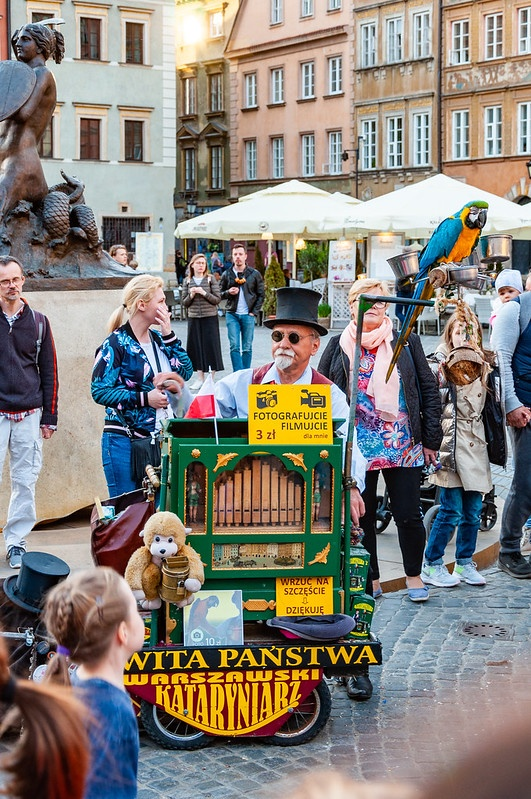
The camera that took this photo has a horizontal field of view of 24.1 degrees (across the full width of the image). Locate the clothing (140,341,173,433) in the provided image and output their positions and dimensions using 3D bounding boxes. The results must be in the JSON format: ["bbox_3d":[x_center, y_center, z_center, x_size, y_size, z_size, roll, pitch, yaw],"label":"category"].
[{"bbox_3d":[-0.485,-0.061,5.484,0.212,0.408,0.103,-6,-8,5],"label":"clothing"}]

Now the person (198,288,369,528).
[{"bbox_3d":[0.054,0.054,4.706,0.614,0.917,0.380,0,8,4],"label":"person"}]

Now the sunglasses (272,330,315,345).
[{"bbox_3d":[0.116,-0.228,4.640,0.075,0.032,0.104,-1,-11,11],"label":"sunglasses"}]

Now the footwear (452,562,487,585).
[{"bbox_3d":[1.104,0.964,6.845,0.215,0.105,0.082,15,17,34],"label":"footwear"}]

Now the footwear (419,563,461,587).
[{"bbox_3d":[0.932,0.968,6.788,0.248,0.120,0.101,4,7,31],"label":"footwear"}]

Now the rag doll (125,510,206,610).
[{"bbox_3d":[-0.330,0.545,4.065,0.252,0.369,0.225,3,6,-6],"label":"rag doll"}]

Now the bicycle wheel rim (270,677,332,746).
[{"bbox_3d":[0.114,1.087,4.298,0.240,0.256,0.044,1,-2,-2],"label":"bicycle wheel rim"}]

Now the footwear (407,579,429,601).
[{"bbox_3d":[0.767,0.983,6.332,0.109,0.079,0.285,-2,-1,-2],"label":"footwear"}]

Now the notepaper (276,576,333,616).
[{"bbox_3d":[0.124,0.682,4.310,0.131,0.094,0.019,-2,6,-7],"label":"notepaper"}]

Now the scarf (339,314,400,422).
[{"bbox_3d":[0.537,-0.151,5.995,0.269,0.481,0.169,-1,-4,19],"label":"scarf"}]

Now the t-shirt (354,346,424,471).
[{"bbox_3d":[0.620,0.036,6.068,0.445,0.627,0.336,2,12,30],"label":"t-shirt"}]

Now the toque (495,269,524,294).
[{"bbox_3d":[1.606,-0.819,8.251,0.178,0.214,0.212,3,-4,12],"label":"toque"}]

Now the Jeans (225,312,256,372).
[{"bbox_3d":[-0.306,-0.700,15.638,0.334,0.988,0.228,-2,21,-2],"label":"Jeans"}]

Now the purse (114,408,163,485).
[{"bbox_3d":[-0.550,0.179,5.514,0.148,0.395,0.216,11,25,10],"label":"purse"}]

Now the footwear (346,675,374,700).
[{"bbox_3d":[0.359,1.121,4.812,0.079,0.090,0.219,0,-9,-3],"label":"footwear"}]
